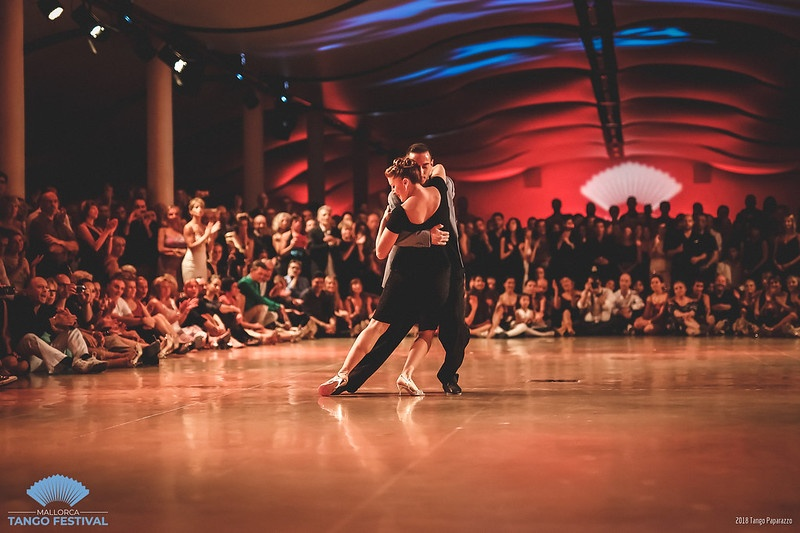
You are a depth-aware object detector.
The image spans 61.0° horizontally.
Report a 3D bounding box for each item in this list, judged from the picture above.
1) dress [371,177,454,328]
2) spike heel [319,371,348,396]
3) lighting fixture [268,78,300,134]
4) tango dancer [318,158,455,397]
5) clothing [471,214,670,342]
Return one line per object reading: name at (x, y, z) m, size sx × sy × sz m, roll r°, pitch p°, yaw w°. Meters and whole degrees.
dress at (-0.061, -0.234, 5.789) m, size 0.428 × 1.225 × 0.381 m, roll 17°, pitch 13°, yaw -14°
spike heel at (-0.552, 1.022, 5.867) m, size 0.274 × 0.140 × 0.097 m, roll -40°, pitch -19°, yaw -3°
lighting fixture at (-2.549, -3.180, 14.128) m, size 0.347 × 1.053 × 0.778 m, roll 10°, pitch 32°, yaw 33°
tango dancer at (-0.021, 0.058, 5.796) m, size 0.908 × 2.047 × 0.650 m, roll 2°, pitch -8°, yaw 3°
clothing at (3.348, 0.330, 13.163) m, size 2.857 × 1.690 × 0.132 m, roll 0°, pitch -20°, yaw -1°
